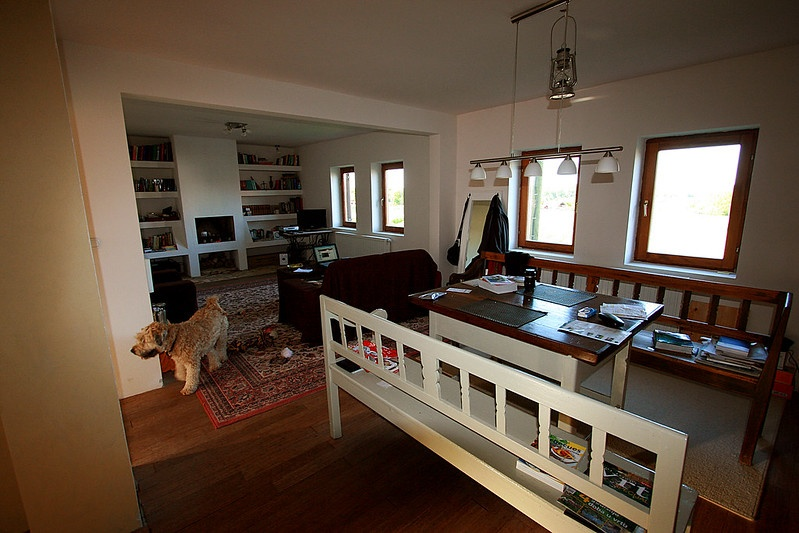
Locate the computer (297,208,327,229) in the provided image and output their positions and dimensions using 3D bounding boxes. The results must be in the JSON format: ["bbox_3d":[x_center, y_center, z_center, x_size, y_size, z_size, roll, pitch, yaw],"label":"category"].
[{"bbox_3d":[-1.686,-0.905,9.316,0.396,0.269,0.114,-5,21,-23],"label":"computer"}]

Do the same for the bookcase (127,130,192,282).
[{"bbox_3d":[-4.241,-1.509,8.419,0.797,1.421,0.431,-7,-17,-28],"label":"bookcase"}]

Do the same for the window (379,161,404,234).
[{"bbox_3d":[-0.118,-1.144,8.087,0.152,1.165,0.634,-5,13,-24],"label":"window"}]

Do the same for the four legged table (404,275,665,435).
[{"bbox_3d":[1.182,0.488,4.236,1.296,1.037,2.597,11,10,38],"label":"four legged table"}]

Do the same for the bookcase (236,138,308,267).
[{"bbox_3d":[-2.596,-1.307,9.714,1.794,2.331,0.390,-11,17,-39],"label":"bookcase"}]

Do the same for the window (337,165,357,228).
[{"bbox_3d":[-0.913,-1.310,9.255,0.123,1.108,0.415,-13,17,-43],"label":"window"}]
